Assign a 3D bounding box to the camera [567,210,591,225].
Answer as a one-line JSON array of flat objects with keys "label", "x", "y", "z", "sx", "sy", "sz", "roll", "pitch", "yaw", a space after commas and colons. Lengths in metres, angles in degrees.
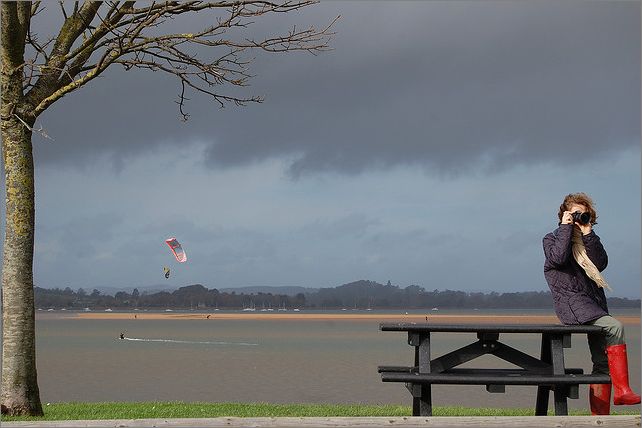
[{"label": "camera", "x": 8.146, "y": 0.130, "z": 33.949, "sx": 0.626, "sy": 0.329, "sz": 0.414, "roll": -2, "pitch": -2, "yaw": 3}]
